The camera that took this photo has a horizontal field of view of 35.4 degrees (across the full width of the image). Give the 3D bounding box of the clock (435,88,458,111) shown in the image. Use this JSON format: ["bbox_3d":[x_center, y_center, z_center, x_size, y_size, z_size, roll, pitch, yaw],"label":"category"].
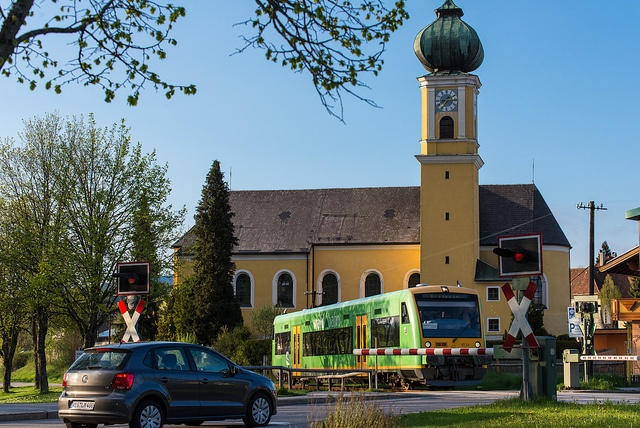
[{"bbox_3d":[9.386,-8.635,74.454,1.101,1.264,0.158,22,10,-5],"label":"clock"}]

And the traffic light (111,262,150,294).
[{"bbox_3d":[-6.570,2.308,34.973,1.107,1.302,0.966,-1,11,-8],"label":"traffic light"}]

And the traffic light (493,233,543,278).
[{"bbox_3d":[6.726,1.315,33.790,1.503,1.454,0.640,-5,-13,17],"label":"traffic light"}]

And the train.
[{"bbox_3d":[1.775,6.823,51.266,3.064,4.690,17.944,4,-11,-25],"label":"train"}]
